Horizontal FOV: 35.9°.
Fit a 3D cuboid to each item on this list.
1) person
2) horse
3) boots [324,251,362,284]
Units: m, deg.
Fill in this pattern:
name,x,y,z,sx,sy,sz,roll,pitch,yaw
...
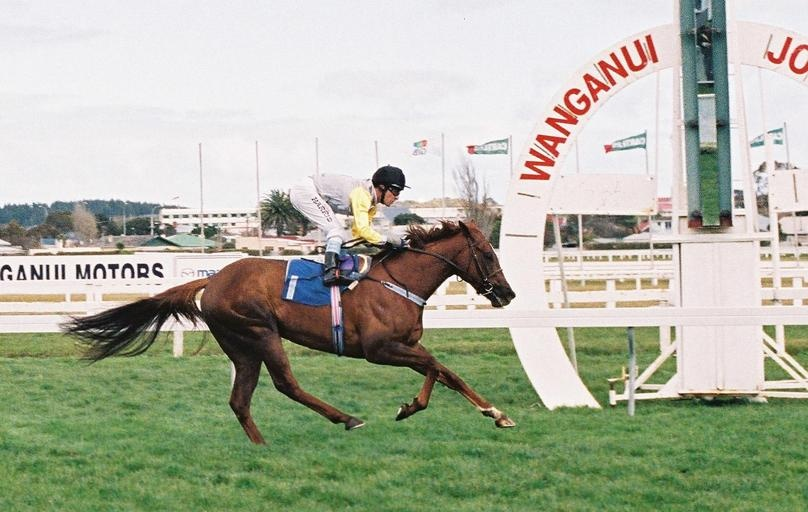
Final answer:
name,x,y,z,sx,sy,sz,roll,pitch,yaw
person,-0.607,-0.378,13.883,1.679,1.431,1.129,2,3,-7
horse,-1.001,0.780,13.268,4.401,2.316,1.081,2,15,2
boots,-0.665,0.111,13.149,0.413,0.325,0.185,-2,-19,-4
